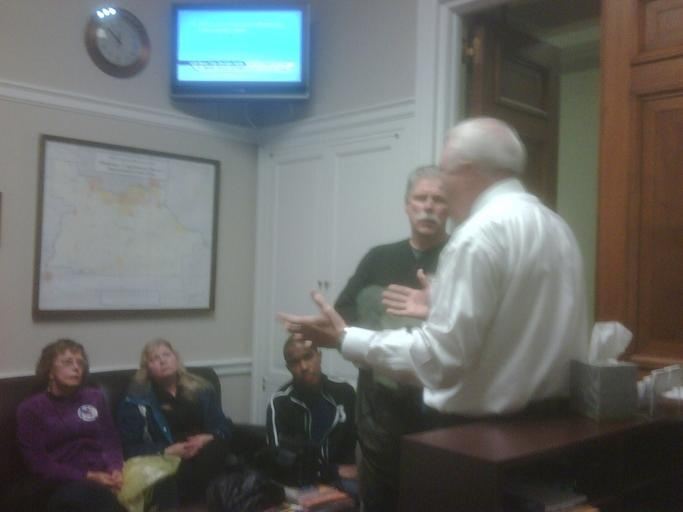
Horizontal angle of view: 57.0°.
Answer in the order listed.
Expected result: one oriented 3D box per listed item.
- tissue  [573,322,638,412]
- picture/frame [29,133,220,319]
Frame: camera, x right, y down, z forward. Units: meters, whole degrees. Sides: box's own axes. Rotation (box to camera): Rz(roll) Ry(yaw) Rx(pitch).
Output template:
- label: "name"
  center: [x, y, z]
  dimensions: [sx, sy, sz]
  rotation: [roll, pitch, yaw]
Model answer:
- label: "tissue "
  center: [0.797, 0.340, 1.878]
  dimensions: [0.192, 0.251, 0.100]
  rotation: [-3, 0, -12]
- label: "picture/frame"
  center: [-1.198, -0.163, 3.379]
  dimensions: [0.971, 0.877, 0.037]
  rotation: [5, -7, -38]
